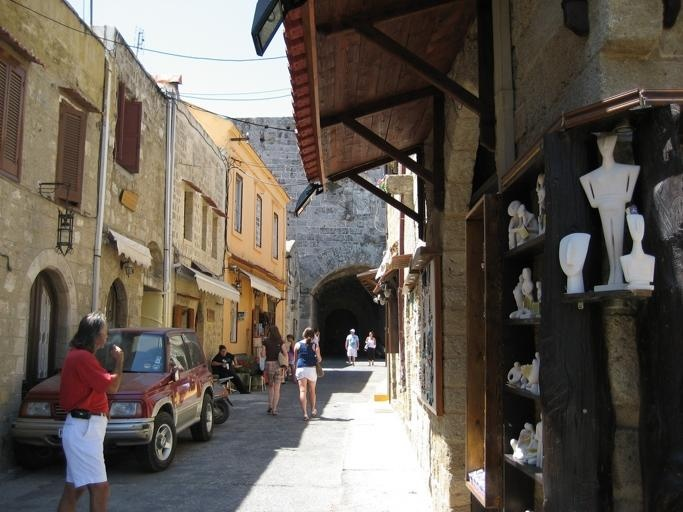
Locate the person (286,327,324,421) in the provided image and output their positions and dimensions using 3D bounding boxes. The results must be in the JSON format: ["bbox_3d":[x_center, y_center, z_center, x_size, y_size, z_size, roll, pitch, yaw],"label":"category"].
[{"bbox_3d":[-0.635,2.162,12.663,0.444,1.683,1.097,0,-2,-2],"label":"person"}]

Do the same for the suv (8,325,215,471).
[{"bbox_3d":[-2.657,1.808,8.891,1.134,1.183,2.233,-3,-14,5],"label":"suv"}]

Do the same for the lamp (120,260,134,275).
[{"bbox_3d":[-3.790,0.212,12.047,0.125,0.474,0.214,5,6,28],"label":"lamp"}]

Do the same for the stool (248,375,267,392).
[{"bbox_3d":[-2.297,3.503,18.613,0.411,0.542,0.443,1,-2,7],"label":"stool"}]

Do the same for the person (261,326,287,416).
[{"bbox_3d":[-1.337,2.278,13.667,0.472,1.716,1.336,1,-2,-5],"label":"person"}]

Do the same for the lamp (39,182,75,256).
[{"bbox_3d":[-3.931,-0.505,9.508,0.283,1.001,0.955,1,-2,-5],"label":"lamp"}]

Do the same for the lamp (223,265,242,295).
[{"bbox_3d":[-3.162,0.679,19.932,0.379,0.705,1.645,1,-3,-6],"label":"lamp"}]
